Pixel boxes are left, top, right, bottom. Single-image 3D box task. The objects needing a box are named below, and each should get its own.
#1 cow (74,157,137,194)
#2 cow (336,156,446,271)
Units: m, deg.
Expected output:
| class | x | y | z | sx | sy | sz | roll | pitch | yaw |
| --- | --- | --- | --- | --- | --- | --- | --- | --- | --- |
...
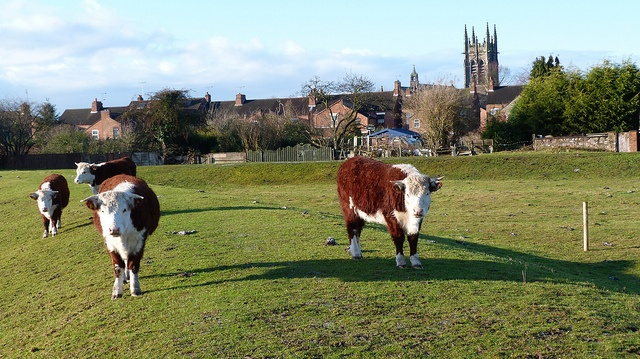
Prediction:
| class | x | y | z | sx | sy | sz | roll | pitch | yaw |
| --- | --- | --- | --- | --- | --- | --- | --- | --- | --- |
| cow | -14.726 | -0.049 | 48.141 | 1.701 | 2.291 | 4.758 | 9 | 14 | 33 |
| cow | 4.008 | 2.062 | 40.142 | 3.435 | 5.764 | 8.468 | -1 | 5 | -29 |
